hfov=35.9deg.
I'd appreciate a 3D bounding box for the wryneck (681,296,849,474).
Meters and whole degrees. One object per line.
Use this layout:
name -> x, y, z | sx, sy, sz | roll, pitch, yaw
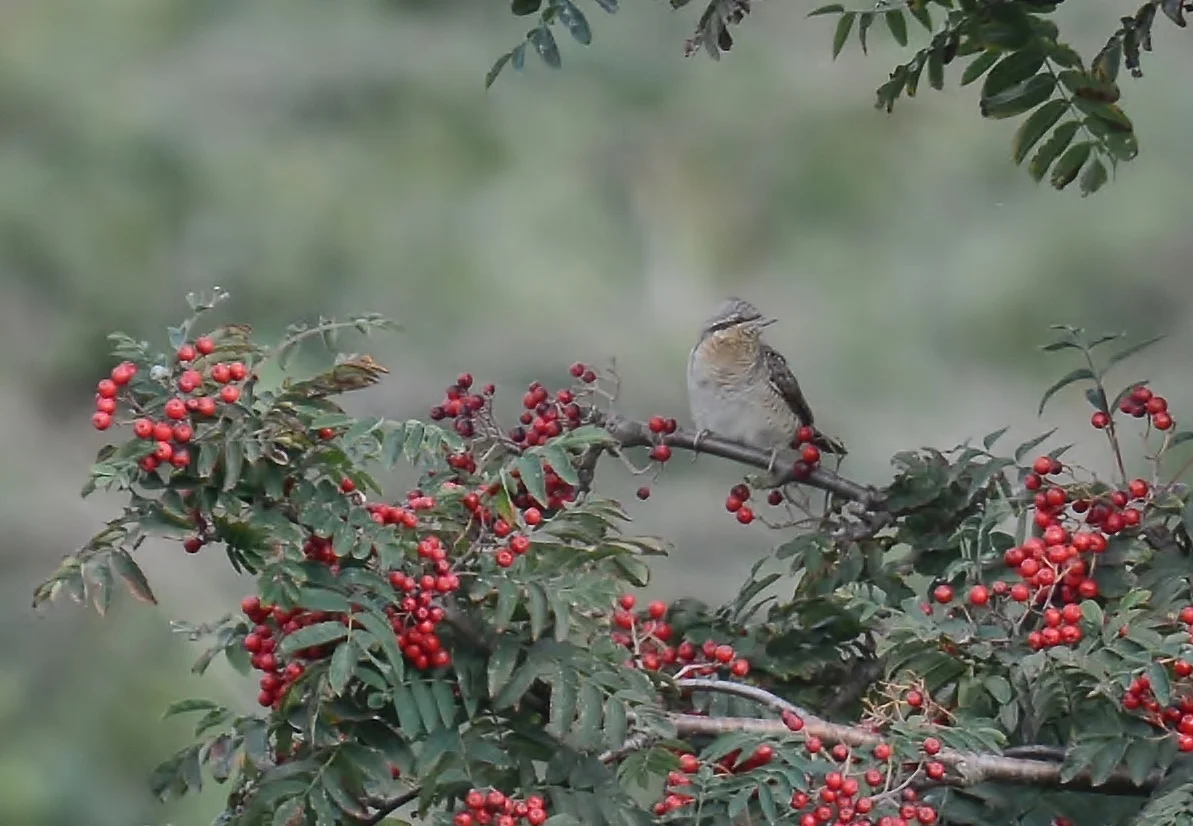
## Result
wryneck -> 0.536, -0.166, 6.393 | 0.392, 0.726, 0.579 | 3, -75, 27
